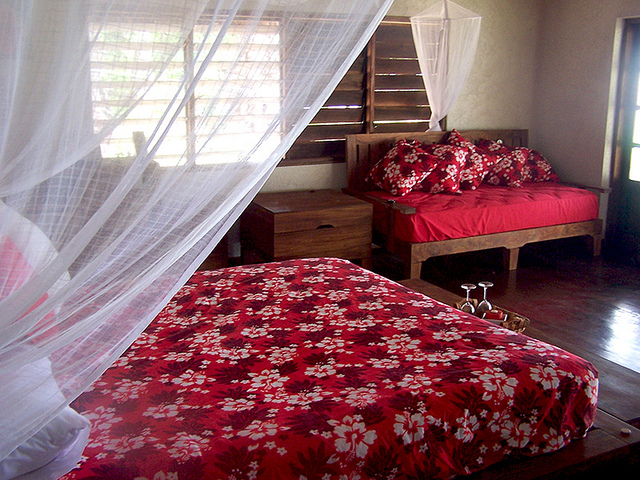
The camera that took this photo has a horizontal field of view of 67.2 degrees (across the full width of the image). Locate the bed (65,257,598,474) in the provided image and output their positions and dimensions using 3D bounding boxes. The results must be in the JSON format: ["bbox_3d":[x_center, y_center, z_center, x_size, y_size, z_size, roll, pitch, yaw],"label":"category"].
[{"bbox_3d":[-0.007,0.473,1.625,1.112,0.168,1.014,-10,19,-31],"label":"bed"}]

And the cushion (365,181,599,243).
[{"bbox_3d":[1.481,-0.255,4.480,2.025,0.355,0.944,-8,18,-14],"label":"cushion"}]

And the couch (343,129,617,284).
[{"bbox_3d":[1.492,-0.423,4.593,2.549,0.982,1.144,-8,32,-24],"label":"couch"}]

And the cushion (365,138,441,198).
[{"bbox_3d":[0.718,-0.655,4.471,0.569,0.596,0.174,41,-11,38],"label":"cushion"}]

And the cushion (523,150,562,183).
[{"bbox_3d":[2.295,-0.767,5.004,0.405,0.317,0.298,2,15,6],"label":"cushion"}]
